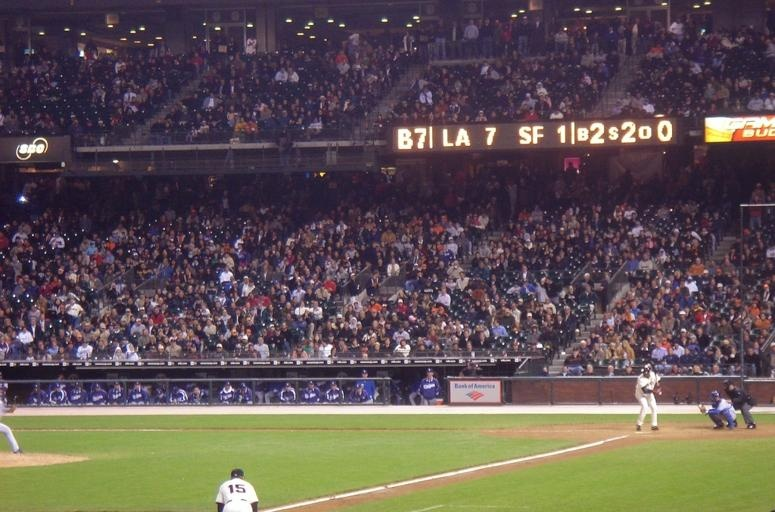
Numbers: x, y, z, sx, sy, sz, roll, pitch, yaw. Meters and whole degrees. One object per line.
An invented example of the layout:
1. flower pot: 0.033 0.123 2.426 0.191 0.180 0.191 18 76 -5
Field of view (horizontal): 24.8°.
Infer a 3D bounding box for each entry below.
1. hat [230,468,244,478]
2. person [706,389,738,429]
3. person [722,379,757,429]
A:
1. hat: -5.847 8.467 68.725 0.391 0.488 0.543 1 5 2
2. person: 15.021 6.915 79.663 1.458 1.810 1.116 -15 13 -15
3. person: 15.991 6.676 79.886 1.356 2.283 1.062 -7 14 41
